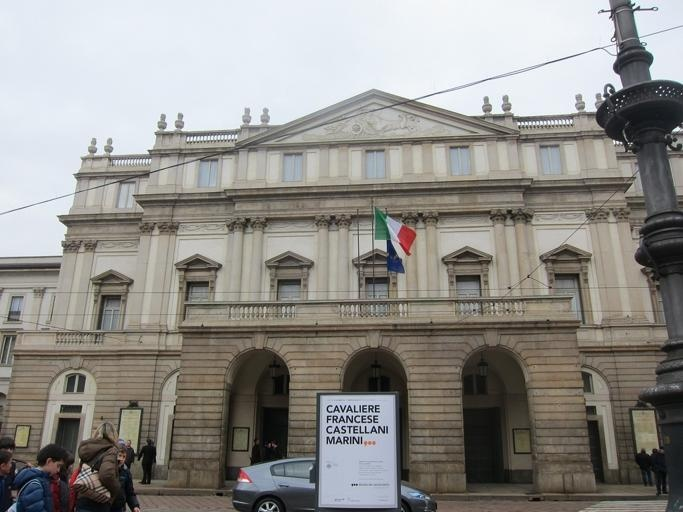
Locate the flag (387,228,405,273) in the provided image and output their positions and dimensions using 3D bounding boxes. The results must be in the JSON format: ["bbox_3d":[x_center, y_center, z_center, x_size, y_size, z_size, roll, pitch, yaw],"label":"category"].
[{"bbox_3d":[2.624,-0.031,28.165,0.747,1.764,1.752,-2,-21,5],"label":"flag"}]

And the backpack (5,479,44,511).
[{"bbox_3d":[-4.763,3.646,8.644,0.553,0.568,0.227,0,-26,6],"label":"backpack"}]

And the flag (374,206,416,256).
[{"bbox_3d":[2.522,-1.228,27.944,2.296,1.934,0.300,9,-13,-26],"label":"flag"}]
